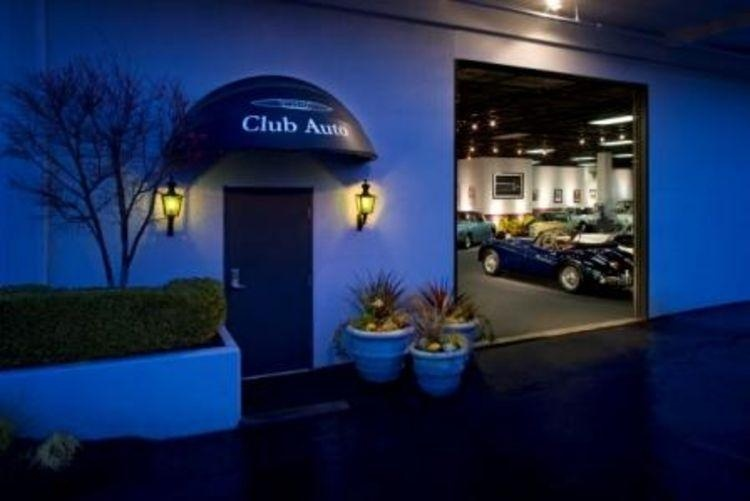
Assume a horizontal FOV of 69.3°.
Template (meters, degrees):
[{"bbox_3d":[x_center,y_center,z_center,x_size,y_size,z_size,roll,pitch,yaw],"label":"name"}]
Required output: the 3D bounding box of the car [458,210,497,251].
[{"bbox_3d":[4.439,-0.911,24.066,1.213,1.047,2.205,-1,-1,32],"label":"car"}]

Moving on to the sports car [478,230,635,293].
[{"bbox_3d":[5.276,0.321,15.220,1.727,1.018,3.152,0,7,-41],"label":"sports car"}]

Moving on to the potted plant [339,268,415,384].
[{"bbox_3d":[0.123,1.391,9.417,1.359,1.706,1.439,0,-7,16],"label":"potted plant"}]

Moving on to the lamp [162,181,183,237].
[{"bbox_3d":[-3.181,-0.655,8.560,0.345,0.898,0.262,-4,10,-23],"label":"lamp"}]

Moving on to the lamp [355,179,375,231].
[{"bbox_3d":[-0.161,-0.786,9.751,0.325,0.920,0.412,0,9,-2],"label":"lamp"}]

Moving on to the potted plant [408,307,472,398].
[{"bbox_3d":[0.988,1.680,8.714,0.834,1.206,0.801,-7,11,-35],"label":"potted plant"}]
